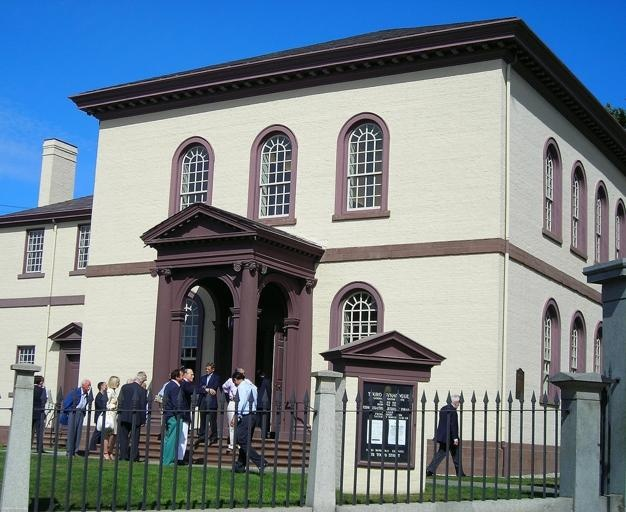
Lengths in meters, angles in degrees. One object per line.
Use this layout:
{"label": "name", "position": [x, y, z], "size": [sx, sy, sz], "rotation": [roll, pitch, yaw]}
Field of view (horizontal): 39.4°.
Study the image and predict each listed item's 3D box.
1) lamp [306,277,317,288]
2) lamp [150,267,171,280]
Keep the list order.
{"label": "lamp", "position": [-0.014, 0.713, 22.587], "size": [0.154, 0.269, 0.349], "rotation": [2, 10, 35]}
{"label": "lamp", "position": [-3.653, 0.466, 22.043], "size": [0.513, 0.356, 0.322], "rotation": [1, 10, 32]}
